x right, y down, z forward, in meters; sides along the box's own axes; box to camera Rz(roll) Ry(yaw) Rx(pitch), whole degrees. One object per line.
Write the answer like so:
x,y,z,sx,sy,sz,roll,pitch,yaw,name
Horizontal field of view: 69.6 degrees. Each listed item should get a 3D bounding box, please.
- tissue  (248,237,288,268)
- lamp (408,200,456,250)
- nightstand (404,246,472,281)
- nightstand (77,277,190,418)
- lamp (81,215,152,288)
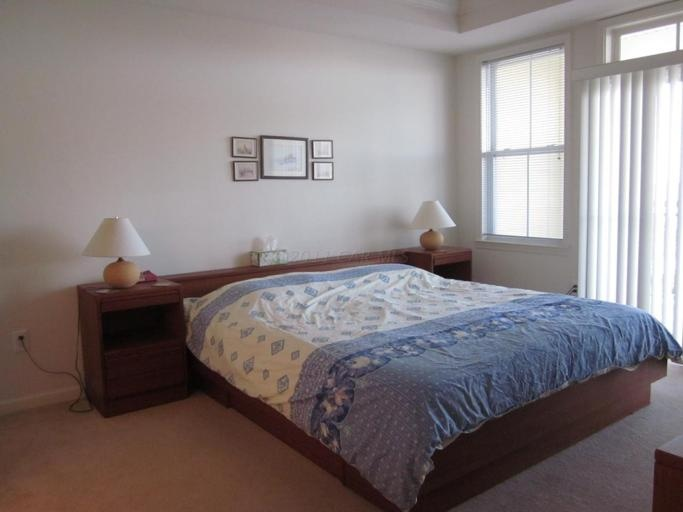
-0.633,-0.066,4.464,0.410,0.376,0.226,-4,4,-39,tissue 
0.946,-0.311,5.150,0.507,0.503,0.484,0,7,23,lamp
1.013,-0.029,5.143,0.547,0.515,0.414,-7,11,-38,nightstand
-1.569,0.657,3.723,0.655,0.849,0.632,-4,7,-26,nightstand
-1.499,-0.033,3.601,0.477,0.543,0.487,1,1,16,lamp
